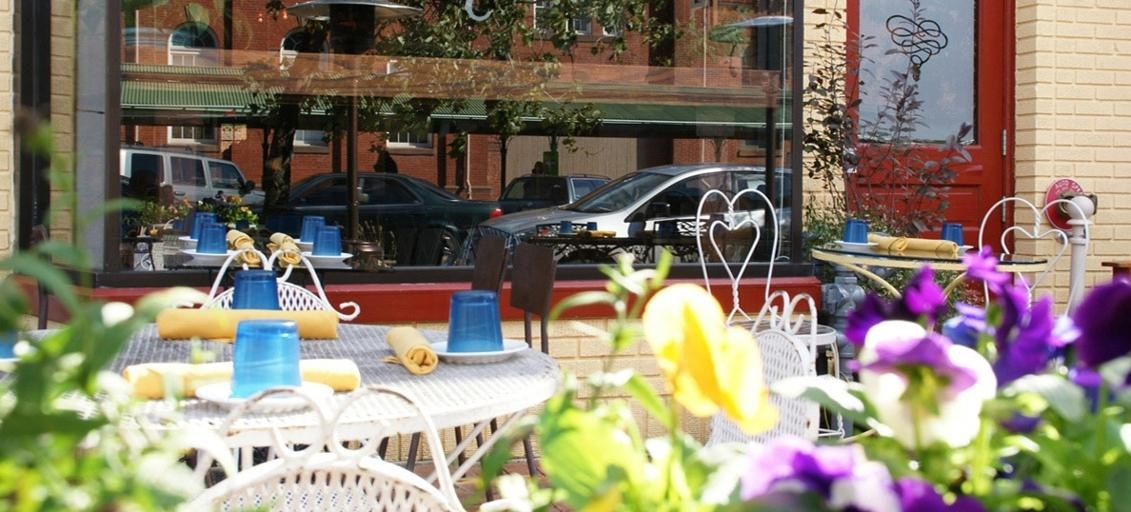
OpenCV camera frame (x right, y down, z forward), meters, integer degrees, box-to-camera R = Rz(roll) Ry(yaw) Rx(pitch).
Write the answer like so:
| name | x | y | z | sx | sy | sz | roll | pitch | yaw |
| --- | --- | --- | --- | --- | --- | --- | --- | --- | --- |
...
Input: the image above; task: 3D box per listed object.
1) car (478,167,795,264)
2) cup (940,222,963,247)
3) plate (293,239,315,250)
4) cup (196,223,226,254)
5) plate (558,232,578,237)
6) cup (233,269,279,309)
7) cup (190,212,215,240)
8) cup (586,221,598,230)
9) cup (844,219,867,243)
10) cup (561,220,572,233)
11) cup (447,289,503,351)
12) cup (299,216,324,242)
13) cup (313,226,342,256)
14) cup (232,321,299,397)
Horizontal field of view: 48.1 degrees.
| name | x | y | z | sx | sy | sz | roll | pitch | yaw |
| --- | --- | --- | --- | --- | --- | --- | --- | --- | --- |
| car | 0.609 | -0.370 | 9.786 | 2.037 | 0.611 | 0.865 | 2 | -1 | -11 |
| cup | 2.923 | -0.180 | 9.562 | 0.224 | 0.188 | 0.212 | 0 | 3 | 0 |
| plate | -1.887 | -0.083 | 9.073 | 0.174 | 0.064 | 0.071 | 4 | 8 | 25 |
| cup | -2.484 | -0.125 | 8.878 | 0.219 | 0.195 | 0.215 | 1 | 2 | 0 |
| plate | 0.020 | -0.163 | 9.440 | 0.134 | 0.041 | 0.006 | 0 | 7 | -8 |
| cup | -1.942 | 0.163 | 7.894 | 0.325 | 0.254 | 0.288 | 4 | 23 | -3 |
| cup | -2.606 | -0.215 | 9.031 | 0.202 | 0.166 | 0.189 | 1 | 3 | 0 |
| cup | 0.194 | -0.230 | 9.460 | 0.075 | 0.049 | 0.071 | 0 | 1 | 0 |
| cup | 2.166 | -0.193 | 9.434 | 0.162 | 0.166 | 0.159 | 1 | 7 | 0 |
| cup | -0.001 | -0.224 | 9.484 | 0.088 | 0.072 | 0.083 | 0 | 3 | 0 |
| cup | -0.556 | 0.395 | 7.741 | 0.392 | 0.383 | 0.387 | -2 | 4 | 0 |
| cup | -1.847 | -0.209 | 9.127 | 0.188 | 0.160 | 0.178 | 1 | 1 | 0 |
| cup | -1.674 | -0.103 | 8.896 | 0.209 | 0.172 | 0.197 | 1 | 2 | 0 |
| cup | -1.762 | 0.609 | 7.323 | 0.469 | 0.434 | 0.465 | -2 | -5 | 0 |
